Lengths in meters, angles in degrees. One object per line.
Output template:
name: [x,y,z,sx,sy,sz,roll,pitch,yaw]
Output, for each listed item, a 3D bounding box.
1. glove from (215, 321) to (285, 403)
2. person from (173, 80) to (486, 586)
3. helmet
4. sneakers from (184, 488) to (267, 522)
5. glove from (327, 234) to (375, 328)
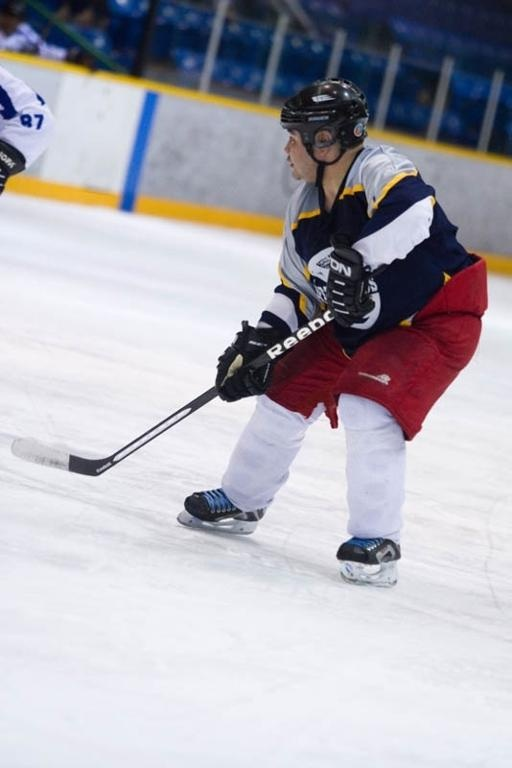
glove: [-0.024,-0.047,1.763,0.087,0.191,0.118,38,-3,-41]
person: [0.203,-0.113,1.714,0.516,1.033,0.480,18,-2,22]
helmet: [0.133,-0.554,1.673,0.191,0.138,0.135,-9,26,1]
sneakers: [-0.077,0.270,1.826,0.181,0.069,0.058,6,39,-41]
glove: [0.179,-0.188,1.569,0.088,0.152,0.112,18,-1,21]
